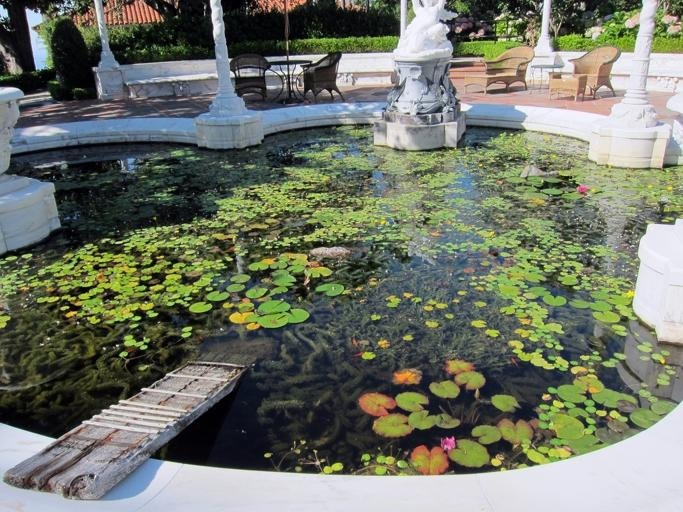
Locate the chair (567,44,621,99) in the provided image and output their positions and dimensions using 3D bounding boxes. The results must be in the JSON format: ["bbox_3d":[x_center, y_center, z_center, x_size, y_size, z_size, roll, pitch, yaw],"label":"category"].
[{"bbox_3d":[6.133,-4.415,10.194,0.797,0.915,0.904,-27,37,-16],"label":"chair"}]
